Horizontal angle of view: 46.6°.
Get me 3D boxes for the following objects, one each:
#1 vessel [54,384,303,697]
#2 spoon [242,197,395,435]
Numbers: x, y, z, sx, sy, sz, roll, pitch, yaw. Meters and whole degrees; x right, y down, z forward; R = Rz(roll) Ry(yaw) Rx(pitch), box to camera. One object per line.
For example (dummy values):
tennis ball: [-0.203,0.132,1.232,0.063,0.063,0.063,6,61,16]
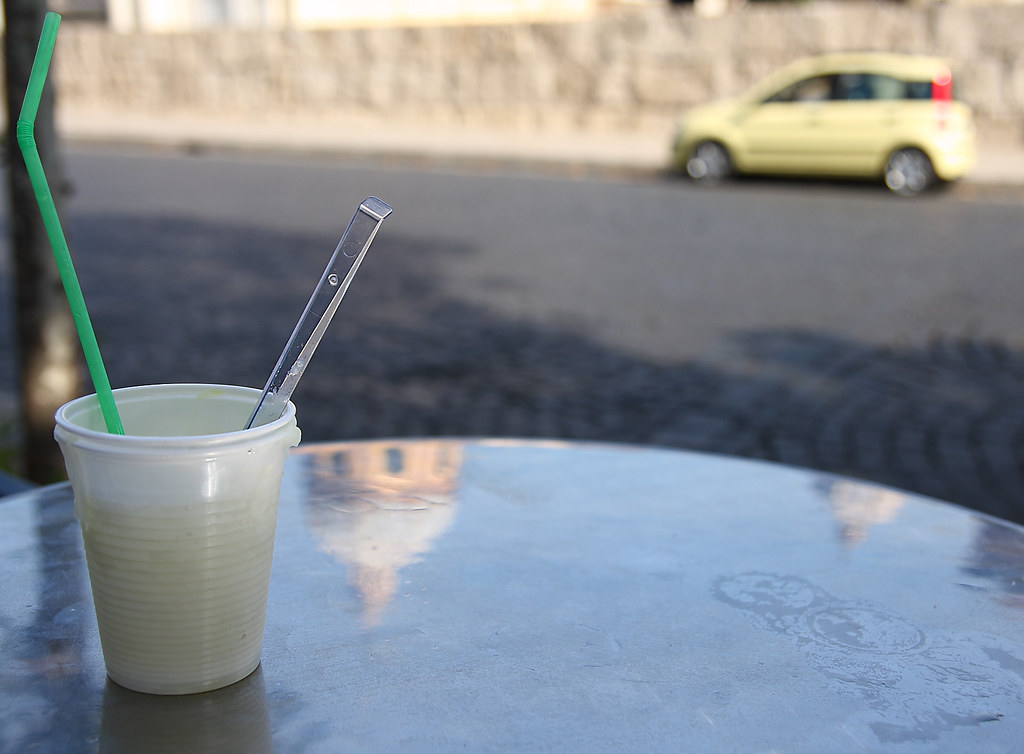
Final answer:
vessel: [-0.210,0.104,0.764,0.147,0.168,0.114,-4,25,-16]
spoon: [-0.134,-0.044,0.799,0.086,0.153,0.116,5,24,4]
